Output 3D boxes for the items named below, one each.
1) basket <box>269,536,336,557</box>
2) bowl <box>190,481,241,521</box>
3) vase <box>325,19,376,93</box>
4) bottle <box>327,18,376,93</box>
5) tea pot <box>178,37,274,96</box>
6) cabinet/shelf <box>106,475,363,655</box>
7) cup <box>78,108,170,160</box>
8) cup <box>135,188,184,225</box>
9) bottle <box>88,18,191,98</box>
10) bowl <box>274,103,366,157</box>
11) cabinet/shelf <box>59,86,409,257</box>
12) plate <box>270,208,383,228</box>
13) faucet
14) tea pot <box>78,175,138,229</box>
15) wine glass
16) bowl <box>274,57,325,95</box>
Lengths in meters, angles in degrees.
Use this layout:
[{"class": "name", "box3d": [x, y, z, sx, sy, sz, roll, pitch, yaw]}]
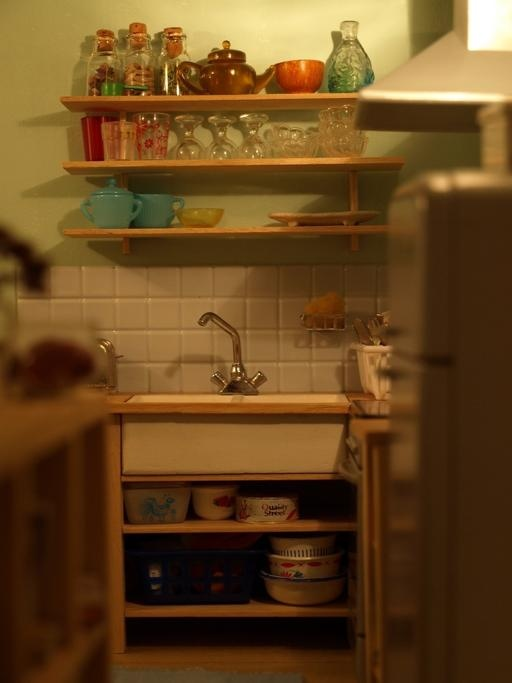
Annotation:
[{"class": "basket", "box3d": [0.139, 0.613, 1.927, 0.106, 0.035, 0.099, -4, -8, 2]}, {"class": "bowl", "box3d": [-0.127, 0.476, 1.954, 0.117, 0.079, 0.113, 1, -1, 0]}, {"class": "vase", "box3d": [0.311, -0.964, 2.181, 0.158, 0.215, 0.150, -14, 33, -15]}, {"class": "bottle", "box3d": [0.315, -0.963, 2.188, 0.168, 0.221, 0.151, -13, 24, -25]}, {"class": "tea pot", "box3d": [-0.099, -0.910, 2.185, 0.326, 0.198, 0.193, -6, 12, -16]}, {"class": "cabinet/shelf", "box3d": [-0.066, 0.731, 1.936, 0.613, 0.146, 0.644, -1, -4, 0]}, {"class": "cup", "box3d": [-0.434, -0.666, 2.128, 0.259, 0.112, 0.166, -1, 5, -14]}, {"class": "cup", "box3d": [-0.322, -0.445, 2.133, 0.139, 0.082, 0.110, 1, 3, -4]}, {"class": "bottle", "box3d": [-0.399, -0.961, 2.198, 0.373, 0.269, 0.117, 0, -6, -6]}, {"class": "bowl", "box3d": [0.208, -0.709, 2.193, 0.332, 0.194, 0.227, 0, 3, 12]}, {"class": "cabinet/shelf", "box3d": [-0.058, -0.589, 2.218, 1.160, 0.480, 0.205, -1, 2, 0]}, {"class": "plate", "box3d": [0.212, -0.395, 2.075, 0.336, 0.051, 0.164, -1, 3, 0]}, {"class": "faucet", "box3d": [-0.077, 0.040, 2.179, 0.205, 0.271, 0.147, 0, 3, 14]}, {"class": "tea pot", "box3d": [-0.483, -0.455, 2.140, 0.206, 0.159, 0.135, 1, 9, 6]}, {"class": "wine glass", "box3d": [-0.117, -0.712, 2.197, 0.235, 0.099, 0.090, 0, 8, 7]}, {"class": "bowl", "box3d": [0.148, -0.880, 2.174, 0.139, 0.079, 0.135, -2, 13, 0]}]
